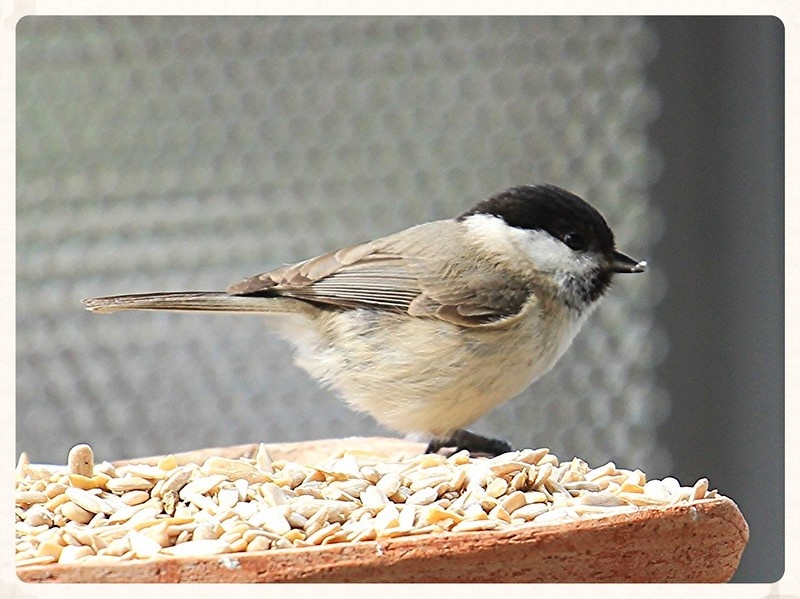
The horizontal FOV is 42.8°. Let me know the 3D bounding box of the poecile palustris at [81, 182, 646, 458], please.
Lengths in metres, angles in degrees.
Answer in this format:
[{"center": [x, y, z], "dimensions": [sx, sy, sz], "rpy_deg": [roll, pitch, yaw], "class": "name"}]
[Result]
[{"center": [-0.127, 0.087, 3.350], "dimensions": [1.765, 0.749, 0.575], "rpy_deg": [-6, 5, 2], "class": "poecile palustris"}]
